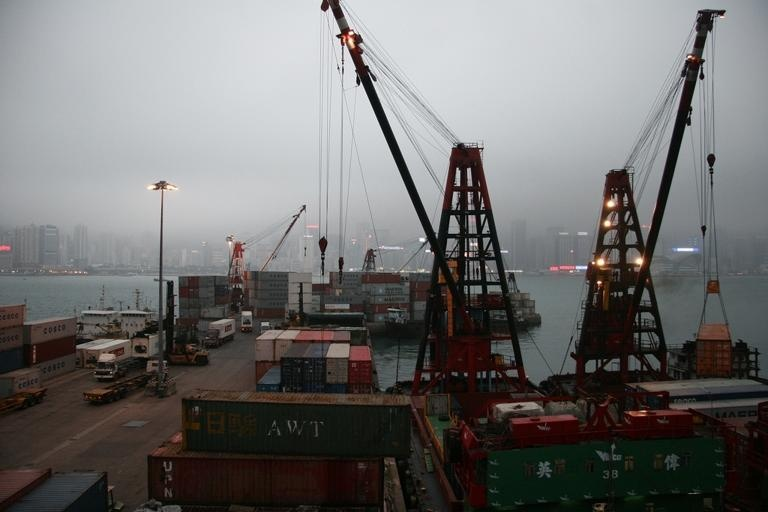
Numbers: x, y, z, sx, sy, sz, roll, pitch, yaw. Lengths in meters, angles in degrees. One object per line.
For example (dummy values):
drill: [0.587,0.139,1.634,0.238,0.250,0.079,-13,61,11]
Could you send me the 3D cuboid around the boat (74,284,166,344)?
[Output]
boat: [-31.849,7.602,97.133,14.414,8.841,14.397,0,-3,-9]
